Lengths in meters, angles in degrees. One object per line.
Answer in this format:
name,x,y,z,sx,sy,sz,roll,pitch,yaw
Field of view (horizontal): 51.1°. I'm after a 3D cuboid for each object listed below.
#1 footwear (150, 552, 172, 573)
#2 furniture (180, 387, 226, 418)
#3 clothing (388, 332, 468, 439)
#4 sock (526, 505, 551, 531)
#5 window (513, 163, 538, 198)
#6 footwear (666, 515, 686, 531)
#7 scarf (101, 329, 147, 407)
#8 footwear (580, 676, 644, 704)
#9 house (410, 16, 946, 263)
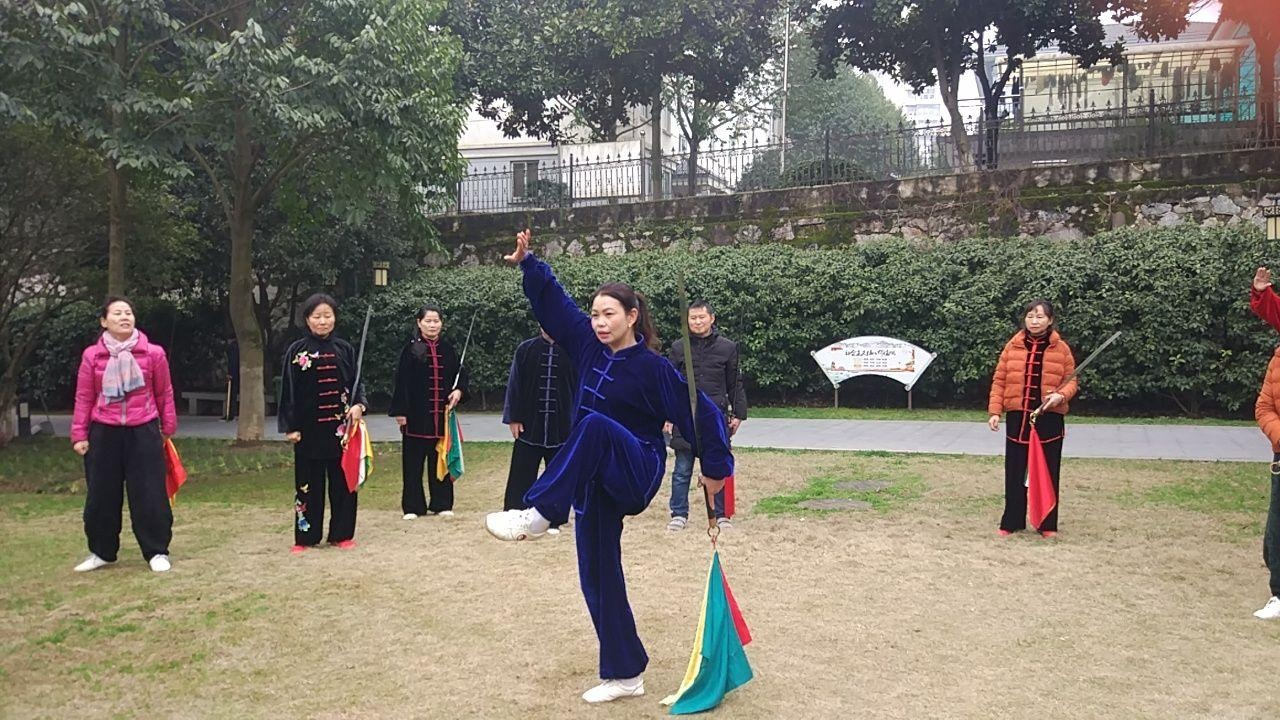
footwear,-7.619,3.230,21.182,0.322,0.254,0.216,-4,5,-20
furniture,-11.363,1.093,34.590,1.724,0.526,0.727,-1,5,16
clothing,-3.665,0.443,22.940,1.301,1.800,0.515,-4,5,-8
sock,-1.460,2.269,18.859,0.236,0.374,0.260,3,30,38
window,-2.879,-4.839,35.899,1.121,0.950,0.270,0,-6,32
footwear,0.634,2.752,22.470,0.287,0.175,0.469,0,-2,8
scarf,-8.241,0.104,21.180,0.623,1.103,0.340,-5,6,-22
footwear,-0.353,4.754,19.306,1.043,0.342,0.333,-1,-1,-6
house,2.396,-7.957,48.356,15.562,8.086,34.060,-2,4,9
